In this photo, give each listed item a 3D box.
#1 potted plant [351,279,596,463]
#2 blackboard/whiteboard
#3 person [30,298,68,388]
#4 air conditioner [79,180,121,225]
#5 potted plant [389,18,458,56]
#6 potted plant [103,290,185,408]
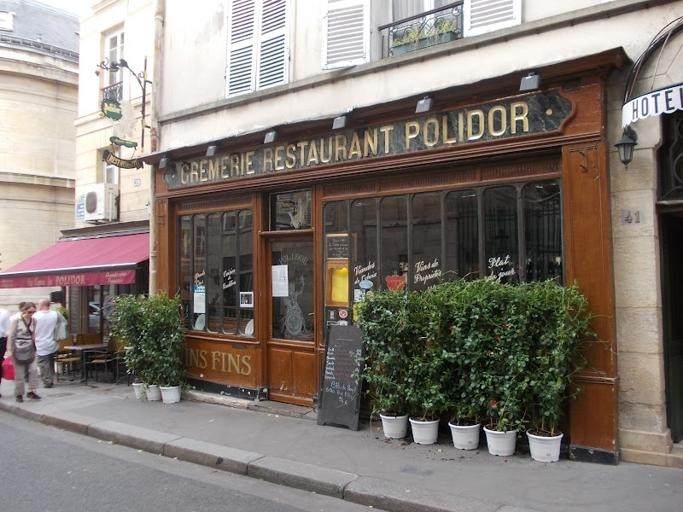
[{"bbox_3d":[1.865,1.411,9.347,3.058,2.113,0.714,0,11,24],"label":"potted plant"},{"bbox_3d":[0.013,1.884,10.506,0.840,1.569,0.077,-2,-11,41],"label":"blackboard/whiteboard"},{"bbox_3d":[-6.223,1.815,14.411,0.644,1.779,0.575,0,2,-45],"label":"person"},{"bbox_3d":[-5.783,-1.254,16.084,0.998,0.867,0.411,-2,-5,32],"label":"air conditioner"},{"bbox_3d":[1.255,-3.420,10.563,1.244,0.428,0.205,2,12,33],"label":"potted plant"},{"bbox_3d":[-3.597,1.632,12.483,1.031,1.966,0.993,2,3,37],"label":"potted plant"}]
